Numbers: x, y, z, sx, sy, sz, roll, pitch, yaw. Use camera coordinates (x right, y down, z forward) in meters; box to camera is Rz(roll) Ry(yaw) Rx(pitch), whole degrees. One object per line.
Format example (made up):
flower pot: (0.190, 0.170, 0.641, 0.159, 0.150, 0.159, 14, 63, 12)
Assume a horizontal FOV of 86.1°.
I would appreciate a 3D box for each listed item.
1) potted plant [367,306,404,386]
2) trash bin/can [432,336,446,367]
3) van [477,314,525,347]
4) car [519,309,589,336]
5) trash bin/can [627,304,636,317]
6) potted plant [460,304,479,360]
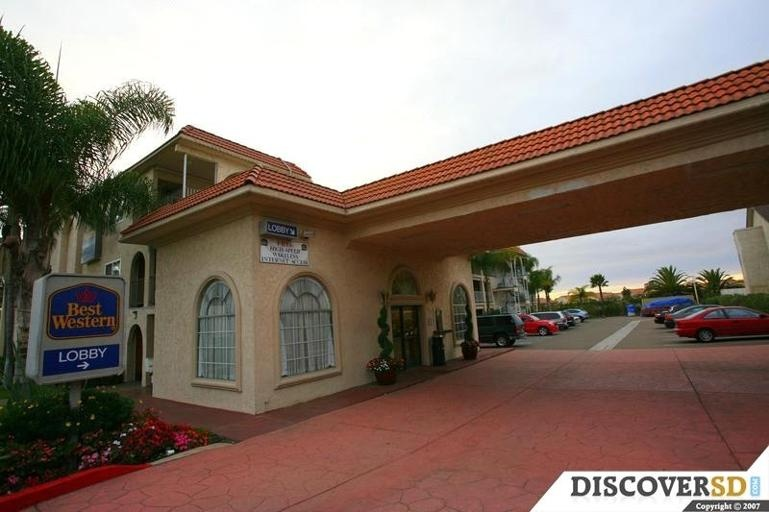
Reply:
potted plant: (-0.071, 3.037, 14.303, 1.115, 2.635, 1.330, -4, -10, -6)
trash bin/can: (2.185, 3.828, 16.804, 0.529, 1.243, 0.554, -6, -10, 2)
van: (6.556, 4.531, 25.058, 4.019, 1.923, 1.930, -10, -11, 36)
car: (12.271, 4.972, 30.909, 4.008, 1.637, 2.104, 5, -14, -45)
trash bin/can: (29.534, 6.449, 49.154, 0.942, 1.681, 0.928, 24, -25, -28)
potted plant: (3.778, 3.429, 18.639, 0.671, 2.345, 1.859, -7, -10, 10)
